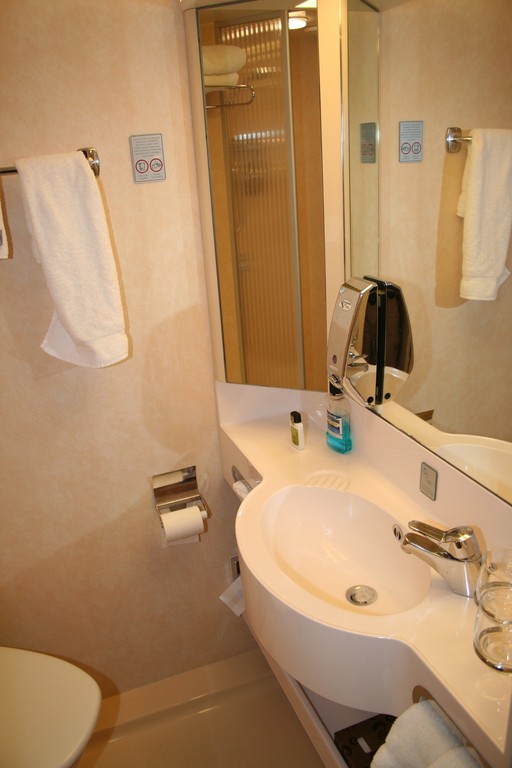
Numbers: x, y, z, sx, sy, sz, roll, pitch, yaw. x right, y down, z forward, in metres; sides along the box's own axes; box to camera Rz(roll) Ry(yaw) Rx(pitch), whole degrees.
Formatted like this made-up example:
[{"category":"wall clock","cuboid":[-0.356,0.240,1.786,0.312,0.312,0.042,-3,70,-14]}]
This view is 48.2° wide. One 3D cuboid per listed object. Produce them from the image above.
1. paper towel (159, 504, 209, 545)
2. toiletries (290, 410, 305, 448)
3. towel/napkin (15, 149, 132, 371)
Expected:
[{"category":"paper towel","cuboid":[-0.205,0.392,1.658,0.138,0.117,0.081,-11,11,-35]},{"category":"toiletries","cuboid":[0.107,0.119,1.504,0.034,0.102,0.057,-4,22,4]},{"category":"towel/napkin","cuboid":[-0.396,-0.279,1.255,0.214,0.455,0.104,-16,28,-23]}]
